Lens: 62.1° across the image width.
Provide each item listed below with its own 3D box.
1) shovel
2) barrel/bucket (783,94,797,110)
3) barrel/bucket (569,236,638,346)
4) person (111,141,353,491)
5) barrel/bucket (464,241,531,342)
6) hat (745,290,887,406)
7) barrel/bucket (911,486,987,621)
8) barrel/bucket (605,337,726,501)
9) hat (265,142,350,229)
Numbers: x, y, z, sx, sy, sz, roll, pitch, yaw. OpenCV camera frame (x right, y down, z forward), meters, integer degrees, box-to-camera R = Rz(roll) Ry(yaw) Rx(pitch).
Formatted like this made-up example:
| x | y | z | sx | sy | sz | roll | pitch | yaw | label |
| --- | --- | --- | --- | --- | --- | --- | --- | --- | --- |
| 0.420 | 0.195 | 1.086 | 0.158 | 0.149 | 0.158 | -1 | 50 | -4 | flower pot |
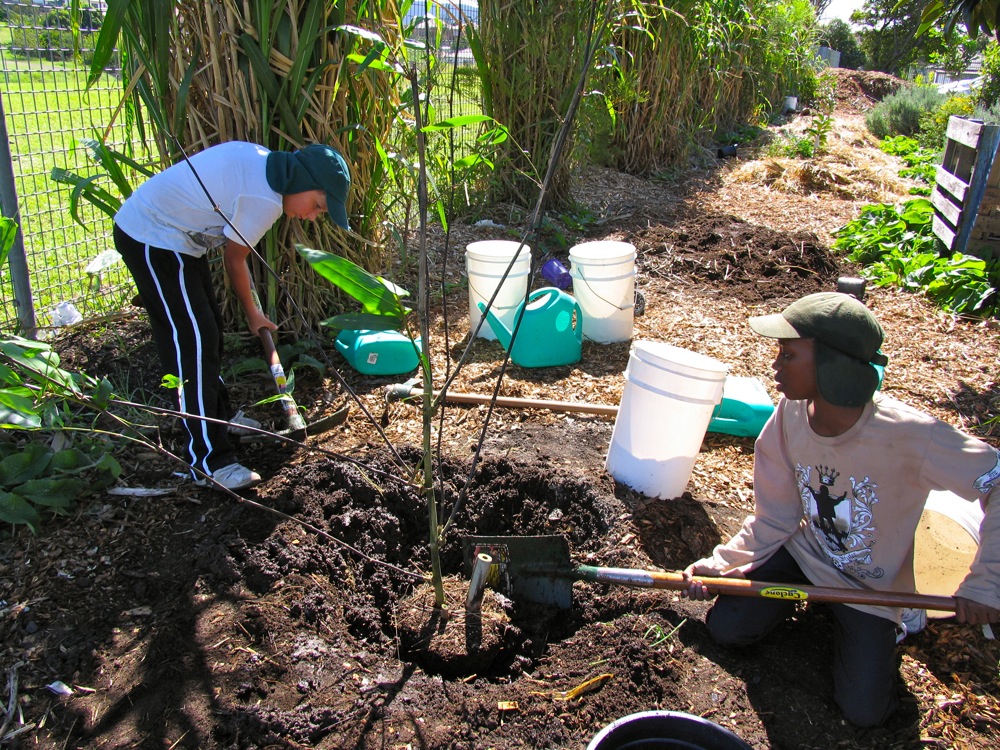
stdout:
| x | y | z | sx | sy | sz | roll | pitch | yaw | label |
| --- | --- | --- | --- | --- | --- | --- | --- | --- | --- |
| 0.892 | 0.793 | 3.227 | 1.452 | 0.230 | 0.209 | 3 | 62 | 13 | shovel |
| 4.974 | -4.665 | 14.214 | 0.226 | 0.201 | 0.224 | -2 | 14 | 0 | barrel/bucket |
| 0.700 | -0.563 | 5.268 | 0.497 | 0.636 | 0.572 | 1 | 30 | 13 | barrel/bucket |
| -1.144 | -0.331 | 3.697 | 0.813 | 1.364 | 0.848 | -20 | 37 | -39 | person |
| -0.033 | -0.499 | 5.052 | 0.506 | 0.788 | 0.535 | 2 | 13 | 0 | barrel/bucket |
| 1.188 | -0.104 | 3.077 | 0.474 | 0.408 | 0.360 | 11 | 12 | 22 | hat |
| 1.732 | 0.709 | 3.202 | 0.288 | 0.322 | 0.473 | 4 | 9 | 27 | barrel/bucket |
| 0.719 | 0.176 | 3.781 | 0.425 | 0.702 | 0.450 | 9 | 26 | -5 | barrel/bucket |
| -0.795 | -0.784 | 3.448 | 0.332 | 0.259 | 0.311 | -1 | 29 | -14 | hat |
